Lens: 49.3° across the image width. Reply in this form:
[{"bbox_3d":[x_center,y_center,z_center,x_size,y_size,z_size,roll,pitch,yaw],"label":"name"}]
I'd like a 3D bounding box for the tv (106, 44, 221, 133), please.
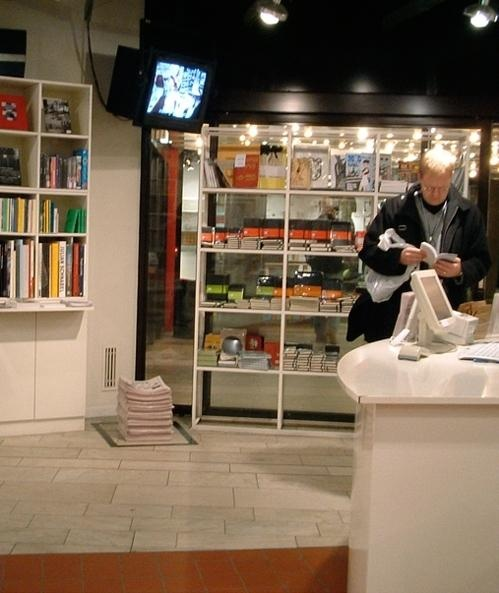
[{"bbox_3d":[-0.413,-1.451,3.907,0.705,0.448,0.383,21,20,30],"label":"tv"}]

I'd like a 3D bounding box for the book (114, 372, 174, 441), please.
[{"bbox_3d":[-0.742,0.787,3.841,0.374,0.406,0.330,1,3,-13],"label":"book"}]

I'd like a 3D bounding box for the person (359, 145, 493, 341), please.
[{"bbox_3d":[0.802,-0.211,2.747,0.739,1.007,0.678,4,4,24],"label":"person"}]

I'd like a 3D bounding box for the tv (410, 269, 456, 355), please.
[{"bbox_3d":[0.707,0.069,2.103,0.224,0.394,0.311,0,8,20],"label":"tv"}]
